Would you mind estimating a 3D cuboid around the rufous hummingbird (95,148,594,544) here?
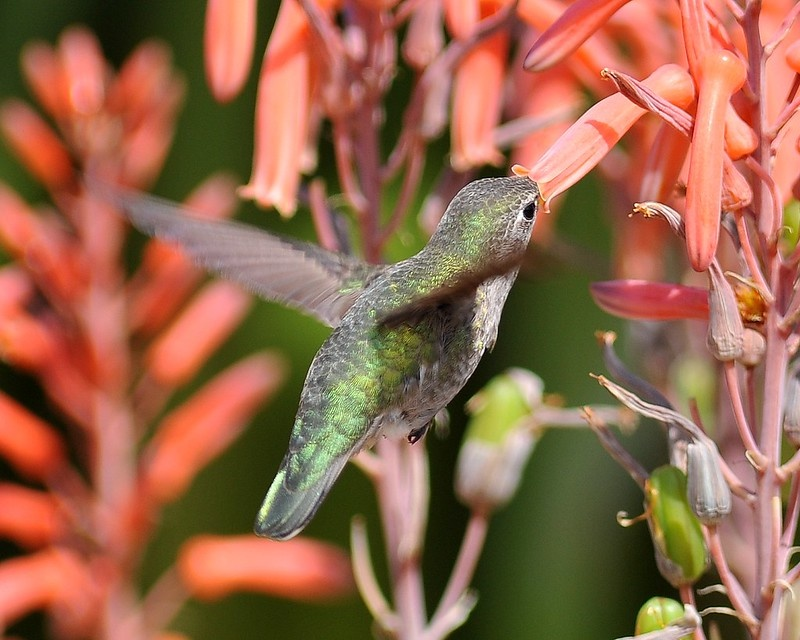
[{"bbox_3d":[-0.055,0.028,1.437,0.462,0.289,0.479,-46,26,-13],"label":"rufous hummingbird"}]
